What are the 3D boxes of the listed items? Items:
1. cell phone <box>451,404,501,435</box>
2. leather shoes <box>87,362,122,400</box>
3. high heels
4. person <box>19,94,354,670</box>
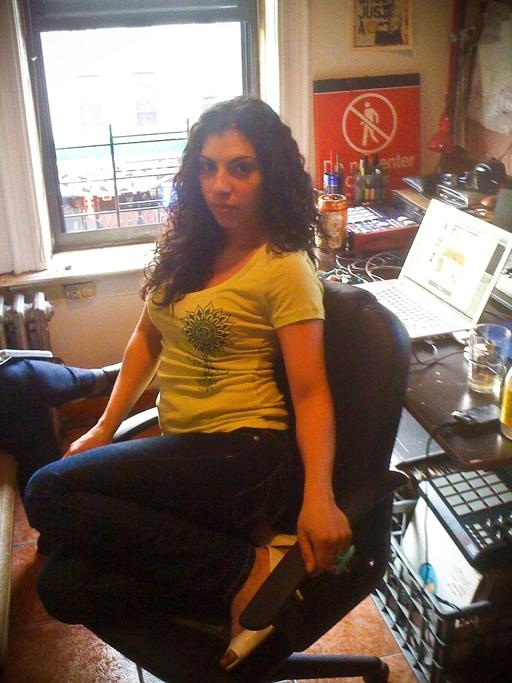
[{"bbox_3d":[0.419,0.146,1.010,0.066,0.015,0.050,-8,20,-17],"label":"cell phone"},{"bbox_3d":[-0.429,0.110,1.504,0.044,0.109,0.111,19,9,40],"label":"leather shoes"},{"bbox_3d":[0.004,0.402,0.876,0.084,0.074,0.232,41,54,-6],"label":"high heels"},{"bbox_3d":[-0.097,0.136,1.056,0.519,1.167,0.421,2,5,0],"label":"person"}]
